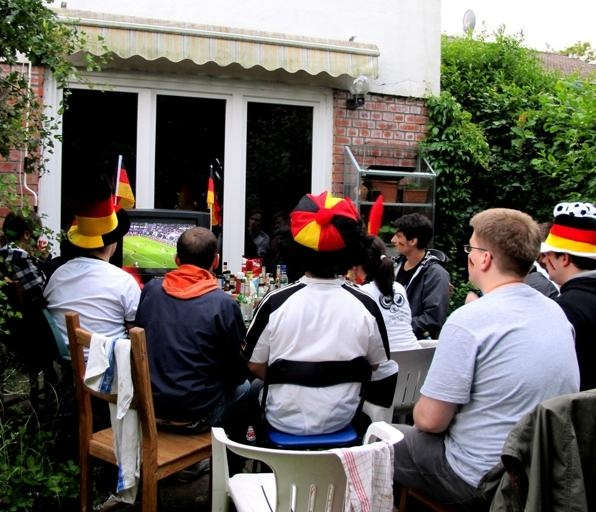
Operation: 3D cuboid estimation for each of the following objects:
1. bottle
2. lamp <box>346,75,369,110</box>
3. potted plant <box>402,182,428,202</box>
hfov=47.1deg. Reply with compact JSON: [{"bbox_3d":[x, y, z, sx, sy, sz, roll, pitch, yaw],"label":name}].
[{"bbox_3d":[-0.284,0.242,4.474,0.340,0.206,0.518,0,6,-5],"label":"bottle"},{"bbox_3d":[0.563,-1.550,6.416,0.174,0.330,0.207,-4,14,-27],"label":"lamp"},{"bbox_3d":[1.140,-0.627,6.578,0.192,0.137,0.164,1,3,-5],"label":"potted plant"}]
